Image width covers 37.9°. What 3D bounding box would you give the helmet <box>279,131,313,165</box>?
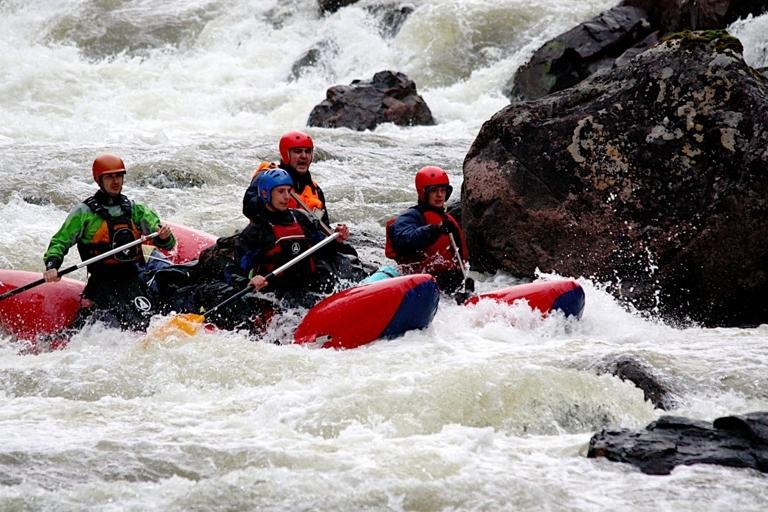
[{"bbox_3d":[-1.253,-1.539,15.822,0.454,0.441,0.591,-5,5,-37],"label":"helmet"}]

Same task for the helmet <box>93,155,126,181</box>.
[{"bbox_3d":[-3.722,-1.181,14.859,0.321,0.316,0.414,-5,6,-42],"label":"helmet"}]

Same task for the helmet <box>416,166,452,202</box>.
[{"bbox_3d":[0.655,-0.970,15.301,0.567,0.493,0.471,0,8,34],"label":"helmet"}]

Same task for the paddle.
[{"bbox_3d":[-1.658,0.378,14.490,3.426,0.152,0.625,-26,33,-22],"label":"paddle"}]
